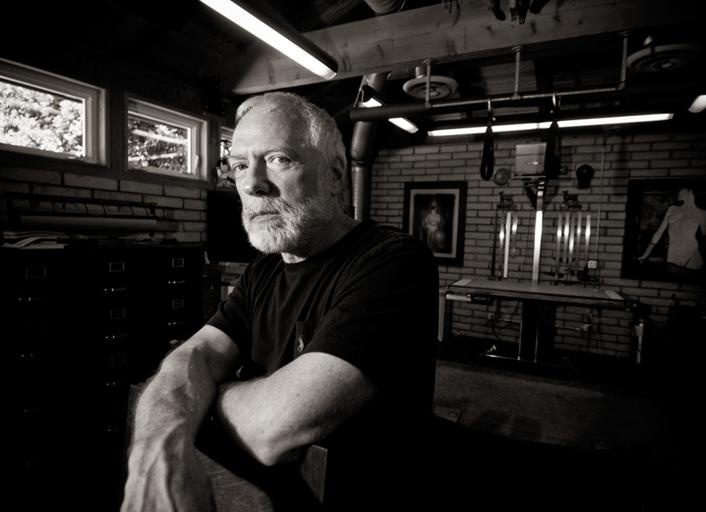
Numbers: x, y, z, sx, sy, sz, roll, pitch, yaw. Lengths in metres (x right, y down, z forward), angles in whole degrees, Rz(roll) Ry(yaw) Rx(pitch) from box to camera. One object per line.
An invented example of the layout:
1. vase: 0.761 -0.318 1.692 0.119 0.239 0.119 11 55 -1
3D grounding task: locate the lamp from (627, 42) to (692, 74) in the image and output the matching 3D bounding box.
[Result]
1. lamp: 2.266 -1.466 4.497 0.454 0.154 0.331 5 10 24

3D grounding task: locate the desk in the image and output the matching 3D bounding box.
1. desk: 1.829 0.668 6.163 1.694 0.806 1.029 6 10 29

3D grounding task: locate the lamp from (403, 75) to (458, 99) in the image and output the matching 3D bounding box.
1. lamp: 0.682 -1.495 5.363 0.454 0.147 0.470 0 -3 10
